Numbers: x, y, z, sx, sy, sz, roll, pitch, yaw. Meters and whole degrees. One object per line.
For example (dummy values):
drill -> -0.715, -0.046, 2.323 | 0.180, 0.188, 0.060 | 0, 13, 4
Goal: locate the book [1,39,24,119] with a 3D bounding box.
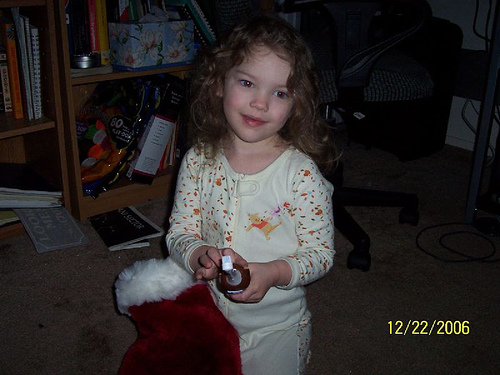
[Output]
book -> -0.931, -0.442, 1.617 | 0.033, 0.239, 0.212 | -6, 35, -17

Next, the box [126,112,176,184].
box -> -0.427, -0.194, 2.052 | 0.149, 0.399, 0.407 | 25, 0, -11

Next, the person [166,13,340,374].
person -> -0.004, 0.049, 1.119 | 0.448, 0.908, 0.623 | 0, 28, 9

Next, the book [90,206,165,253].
book -> -0.520, 0.174, 1.743 | 0.217, 0.045, 0.327 | -21, 32, -29

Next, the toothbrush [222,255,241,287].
toothbrush -> -0.037, 0.174, 0.853 | 0.042, 0.057, 0.017 | -23, 12, 25

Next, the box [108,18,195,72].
box -> -0.427, -0.636, 1.808 | 0.157, 0.182, 0.310 | 23, 33, 37
